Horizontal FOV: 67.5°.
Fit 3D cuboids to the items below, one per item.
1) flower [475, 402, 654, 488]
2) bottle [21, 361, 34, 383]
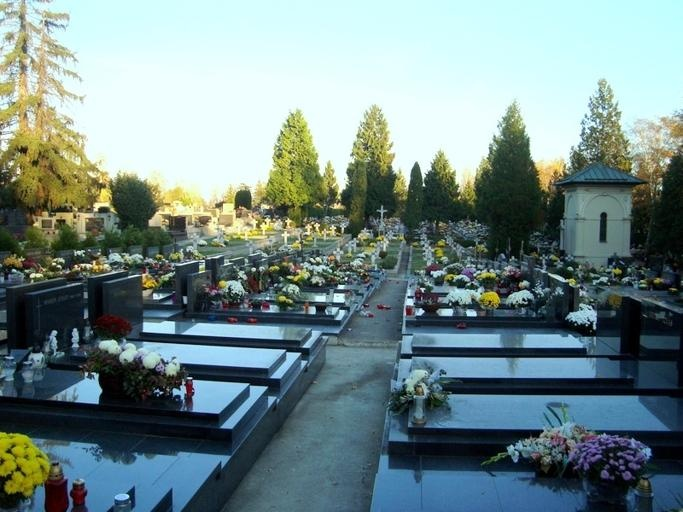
[{"bbox_3d":[2.967,2.410,6.393,1.412,0.835,1.020,-3,5,43],"label":"flower"},{"bbox_3d":[-5.189,1.914,8.414,0.167,0.358,0.261,-4,9,-35],"label":"bottle"}]
